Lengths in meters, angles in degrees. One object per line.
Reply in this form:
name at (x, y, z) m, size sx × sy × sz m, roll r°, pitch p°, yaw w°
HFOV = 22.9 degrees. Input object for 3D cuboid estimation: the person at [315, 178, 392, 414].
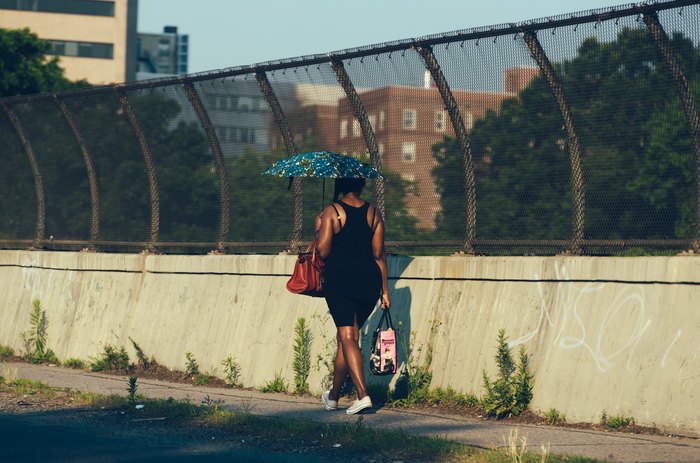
person at (0.058, 1.033, 28.007) m, size 0.949 × 3.830 × 0.709 m, roll -2°, pitch 0°, yaw 31°

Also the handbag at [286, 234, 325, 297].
handbag at (-0.723, 0.593, 28.467) m, size 0.427 × 1.094 × 0.897 m, roll 10°, pitch 2°, yaw 29°

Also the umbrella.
umbrella at (-0.445, -0.817, 27.988) m, size 1.440 × 0.909 × 1.617 m, roll 2°, pitch -11°, yaw -13°

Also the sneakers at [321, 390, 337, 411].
sneakers at (-0.343, 2.781, 28.163) m, size 0.143 × 0.166 × 0.360 m, roll 1°, pitch 7°, yaw -10°

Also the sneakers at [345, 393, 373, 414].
sneakers at (0.137, 2.772, 27.707) m, size 0.183 × 0.231 × 0.494 m, roll 5°, pitch -21°, yaw -38°
